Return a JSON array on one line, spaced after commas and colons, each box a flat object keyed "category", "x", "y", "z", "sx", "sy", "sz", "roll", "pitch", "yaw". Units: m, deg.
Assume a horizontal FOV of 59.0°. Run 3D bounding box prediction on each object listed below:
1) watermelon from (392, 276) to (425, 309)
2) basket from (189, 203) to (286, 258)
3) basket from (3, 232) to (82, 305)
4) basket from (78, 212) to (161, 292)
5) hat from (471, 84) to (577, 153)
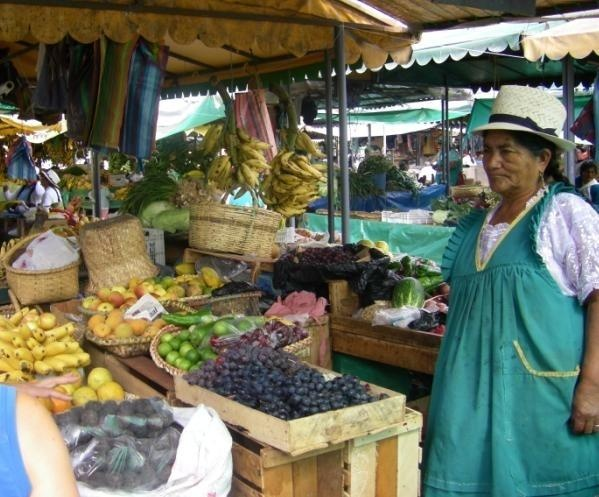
[{"category": "watermelon", "x": 0.802, "y": 0.341, "z": 4.050, "sx": 0.191, "sy": 0.255, "sz": 0.182, "roll": 27, "pitch": -9, "yaw": -30}, {"category": "basket", "x": -0.529, "y": -0.132, "z": 4.210, "sx": 0.743, "sy": 0.476, "sz": 0.270, "roll": -1, "pitch": 9, "yaw": -3}, {"category": "basket", "x": -2.087, "y": 0.220, "z": 4.332, "sx": 0.635, "sy": 0.587, "sz": 0.526, "roll": 9, "pitch": 17, "yaw": 33}, {"category": "basket", "x": -1.489, "y": 0.058, "z": 4.394, "sx": 0.554, "sy": 0.506, "sz": 0.305, "roll": -23, "pitch": 14, "yaw": -32}, {"category": "hat", "x": 0.986, "y": -0.584, "z": 2.371, "sx": 0.318, "sy": 0.184, "sz": 0.339, "roll": 16, "pitch": -11, "yaw": -15}]
